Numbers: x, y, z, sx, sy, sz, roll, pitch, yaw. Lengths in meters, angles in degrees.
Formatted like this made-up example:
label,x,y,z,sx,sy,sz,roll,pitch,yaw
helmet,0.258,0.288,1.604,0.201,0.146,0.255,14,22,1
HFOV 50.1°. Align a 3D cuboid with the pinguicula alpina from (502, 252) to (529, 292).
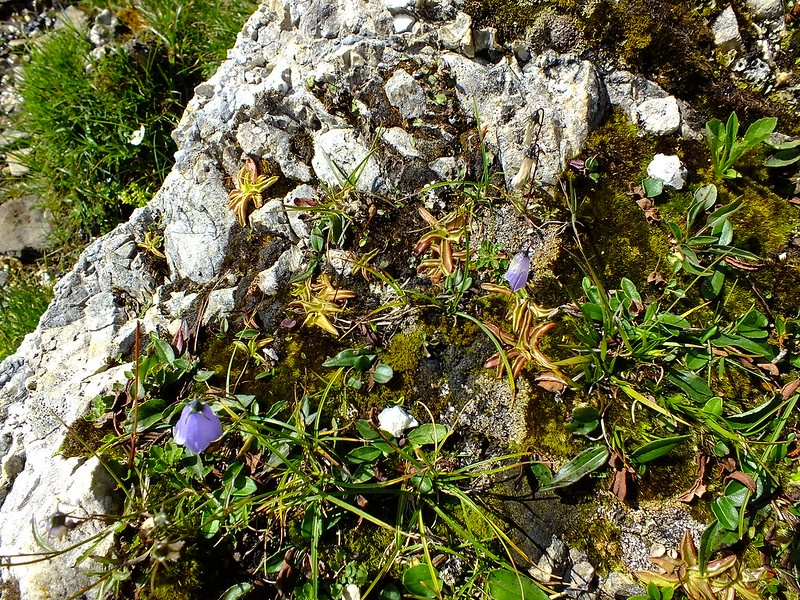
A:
label,x,y,z,sx,sy,sz,roll,pitch,yaw
pinguicula alpina,0.751,-0.170,5.446,0.092,0.118,0.336,6,75,57
